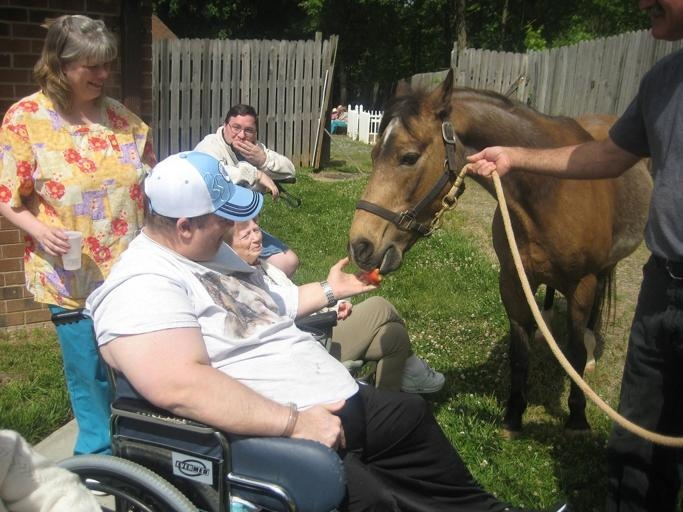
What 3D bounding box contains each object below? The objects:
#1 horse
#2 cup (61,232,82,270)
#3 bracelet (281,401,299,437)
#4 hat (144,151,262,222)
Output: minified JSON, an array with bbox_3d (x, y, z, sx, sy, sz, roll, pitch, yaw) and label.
[{"bbox_3d":[1.806,-0.049,5.640,3.749,2.893,0.911,-15,18,-37],"label":"horse"},{"bbox_3d":[-1.640,-0.033,4.361,0.105,0.226,0.079,1,13,-26],"label":"cup"},{"bbox_3d":[-0.249,0.822,3.558,0.030,0.120,0.117,12,-8,-7],"label":"bracelet"},{"bbox_3d":[-0.730,-0.371,3.887,0.627,0.336,0.422,-5,12,-4],"label":"hat"}]
